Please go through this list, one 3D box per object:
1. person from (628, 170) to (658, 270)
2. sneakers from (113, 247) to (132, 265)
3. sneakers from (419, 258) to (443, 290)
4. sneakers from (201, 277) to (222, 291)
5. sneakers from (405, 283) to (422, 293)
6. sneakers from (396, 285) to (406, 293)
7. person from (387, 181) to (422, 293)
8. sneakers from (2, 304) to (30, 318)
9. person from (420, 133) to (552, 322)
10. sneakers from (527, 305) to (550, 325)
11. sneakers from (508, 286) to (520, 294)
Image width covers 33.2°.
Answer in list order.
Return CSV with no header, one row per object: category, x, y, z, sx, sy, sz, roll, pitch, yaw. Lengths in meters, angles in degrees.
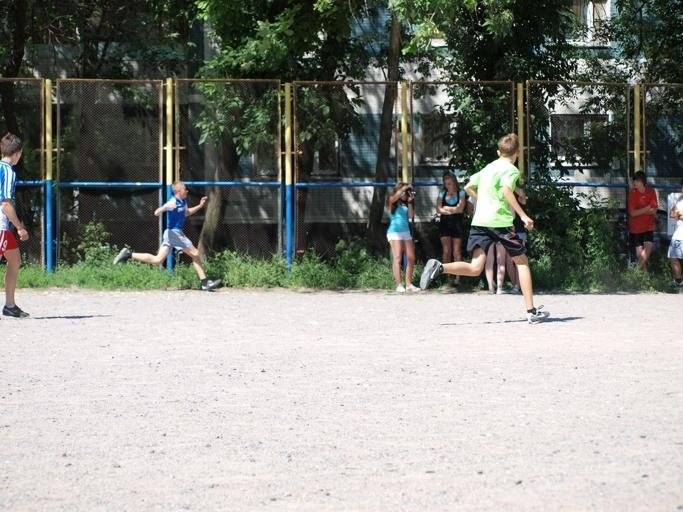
person,5.649,-0.694,21.411,0.520,1.744,0.744,-1,8,-3
sneakers,-3.919,0.049,20.488,0.239,0.193,0.522,-26,-11,-25
sneakers,1.329,0.310,16.694,0.263,0.571,0.220,15,35,-18
sneakers,-2.195,0.497,19.896,0.429,0.200,0.159,-7,-3,17
sneakers,1.247,0.578,19.892,0.263,0.116,0.115,2,16,-13
sneakers,1.027,0.564,19.889,0.162,0.127,0.283,-1,9,-1
person,1.071,-0.309,19.900,0.500,1.832,0.515,-3,8,-14
sneakers,-4.624,0.789,16.254,0.402,0.171,0.157,5,4,-3
person,2.147,-0.379,15.880,0.812,2.554,1.427,-9,12,-44
sneakers,2.703,0.795,15.827,0.272,0.244,0.393,1,9,11
sneakers,2.968,0.609,19.709,0.099,0.097,0.216,0,-4,25
